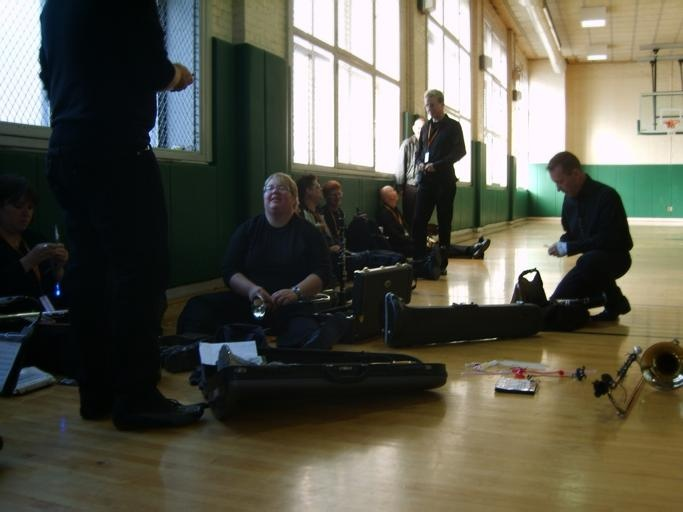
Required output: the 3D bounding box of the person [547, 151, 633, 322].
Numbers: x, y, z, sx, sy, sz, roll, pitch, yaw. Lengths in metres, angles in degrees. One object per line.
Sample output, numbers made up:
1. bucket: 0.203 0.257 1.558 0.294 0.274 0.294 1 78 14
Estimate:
1. person: 1.764 -0.130 4.381 0.683 1.252 0.499 0 1 -11
